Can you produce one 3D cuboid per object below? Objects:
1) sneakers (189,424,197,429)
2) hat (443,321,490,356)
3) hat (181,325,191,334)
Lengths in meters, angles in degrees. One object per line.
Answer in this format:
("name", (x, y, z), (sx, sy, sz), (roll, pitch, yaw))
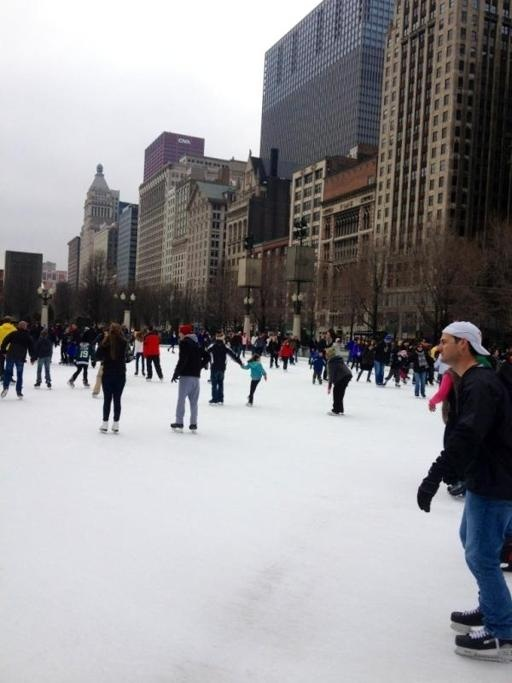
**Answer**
("sneakers", (-0.999, 1.344, 10.121), (0.046, 0.121, 0.133), (3, -6, -45))
("hat", (1.070, -0.042, 3.283), (0.218, 0.156, 0.155), (26, 1, 17))
("hat", (-1.124, -0.198, 10.354), (0.100, 0.166, 0.150), (1, 12, -14))
